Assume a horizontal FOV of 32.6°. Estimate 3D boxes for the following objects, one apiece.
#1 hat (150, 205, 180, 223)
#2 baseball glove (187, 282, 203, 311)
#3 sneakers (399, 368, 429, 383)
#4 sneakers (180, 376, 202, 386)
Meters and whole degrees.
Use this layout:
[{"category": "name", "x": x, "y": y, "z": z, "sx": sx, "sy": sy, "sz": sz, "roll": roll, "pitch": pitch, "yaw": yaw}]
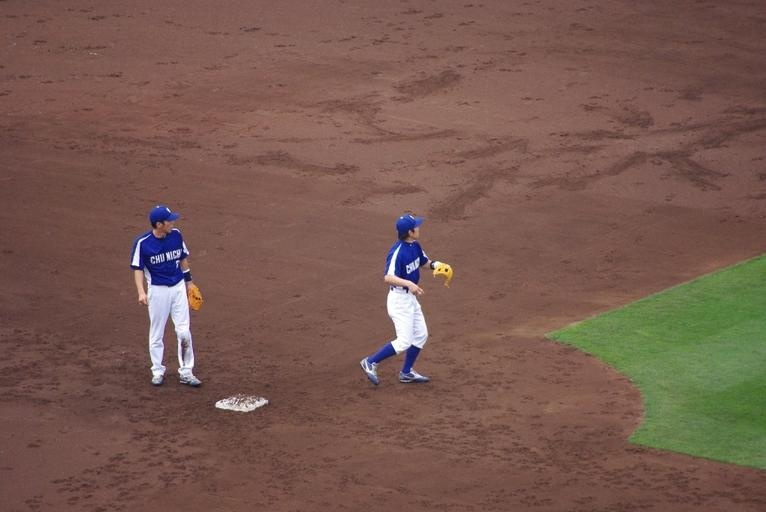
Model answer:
[{"category": "hat", "x": -4.337, "y": -0.799, "z": 25.393, "sx": 0.713, "sy": 0.289, "sz": 0.393, "roll": -12, "pitch": 24, "yaw": -5}, {"category": "baseball glove", "x": -3.799, "y": 0.789, "z": 26.022, "sx": 0.469, "sy": 0.521, "sz": 0.300, "roll": -5, "pitch": -9, "yaw": -1}, {"category": "sneakers", "x": 0.550, "y": 2.360, "z": 25.656, "sx": 0.722, "sy": 0.226, "sz": 0.210, "roll": 0, "pitch": 12, "yaw": 1}, {"category": "sneakers", "x": -3.826, "y": 2.426, "z": 25.667, "sx": 0.427, "sy": 0.119, "sz": 0.172, "roll": 4, "pitch": 12, "yaw": 21}]
